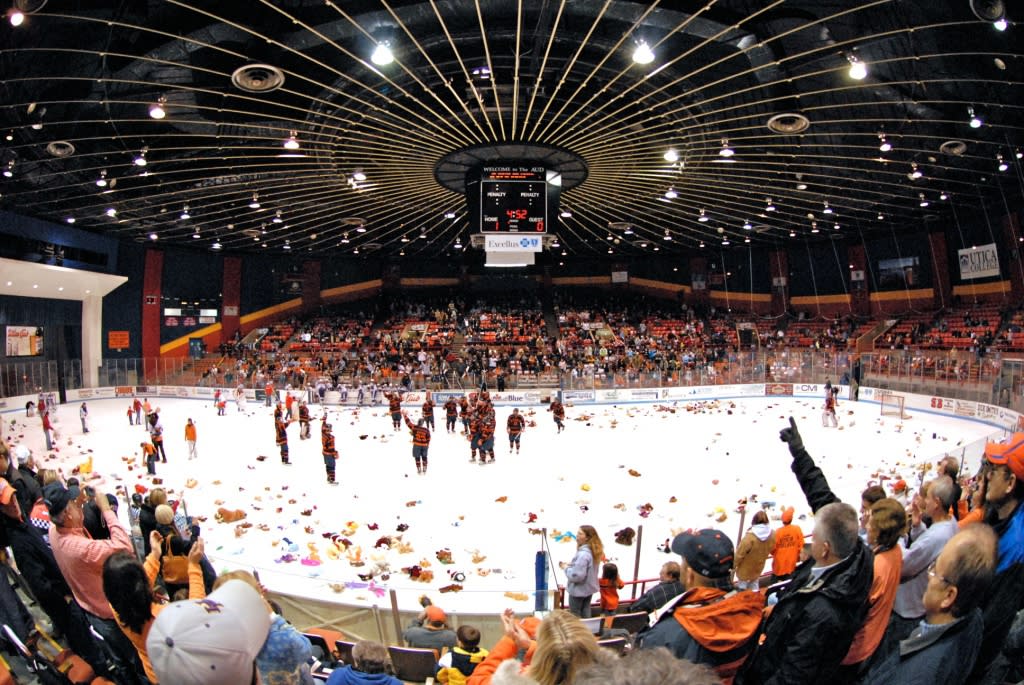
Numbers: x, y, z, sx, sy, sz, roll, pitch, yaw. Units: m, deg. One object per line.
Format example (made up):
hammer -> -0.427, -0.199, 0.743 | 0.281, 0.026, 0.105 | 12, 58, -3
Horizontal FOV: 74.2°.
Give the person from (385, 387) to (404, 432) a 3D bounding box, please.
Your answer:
person -> -4.869, 2.946, 28.461 | 0.511, 1.490, 2.111 | -3, 0, -7
